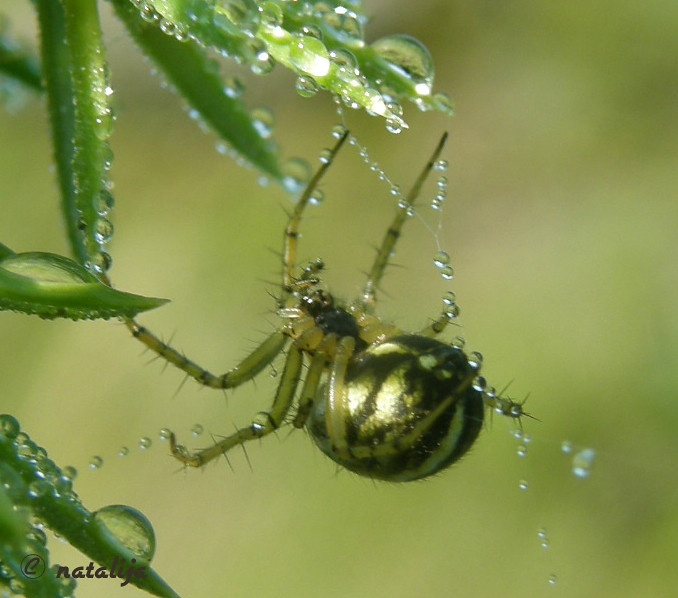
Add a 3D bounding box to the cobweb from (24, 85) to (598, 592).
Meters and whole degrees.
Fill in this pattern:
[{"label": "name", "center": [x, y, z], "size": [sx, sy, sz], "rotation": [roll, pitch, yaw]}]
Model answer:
[{"label": "cobweb", "center": [0.032, 0.101, 1.080], "size": [0.515, 0.609, 0.177], "rotation": [23, -45, 34]}]
